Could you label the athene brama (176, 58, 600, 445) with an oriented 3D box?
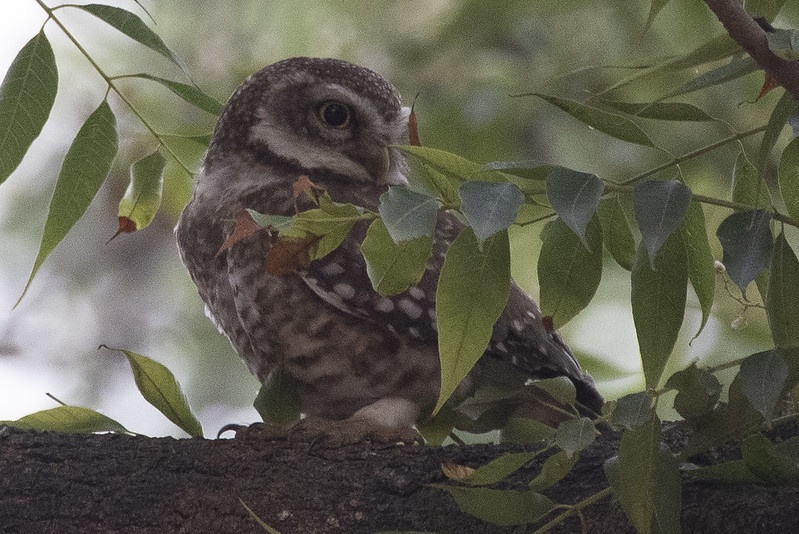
[{"bbox_3d":[-0.039,-0.010,3.647,1.081,0.959,0.637,5,-6,-22],"label":"athene brama"}]
